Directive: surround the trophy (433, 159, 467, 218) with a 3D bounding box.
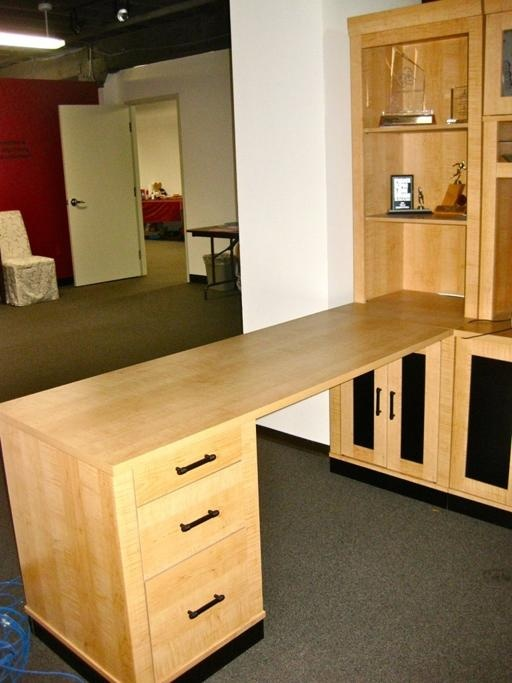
[{"bbox_3d":[0.867,-0.683,2.513,0.133,0.230,0.177,9,26,24],"label":"trophy"}]

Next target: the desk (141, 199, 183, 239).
[{"bbox_3d":[-2.063,-2.751,12.694,0.845,0.936,0.871,-5,10,-11],"label":"desk"}]

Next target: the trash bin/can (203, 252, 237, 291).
[{"bbox_3d":[-0.426,-0.894,7.057,0.420,0.458,0.460,8,14,37],"label":"trash bin/can"}]

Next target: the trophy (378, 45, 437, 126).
[{"bbox_3d":[0.674,-1.129,2.519,0.314,0.333,0.318,16,29,39],"label":"trophy"}]
